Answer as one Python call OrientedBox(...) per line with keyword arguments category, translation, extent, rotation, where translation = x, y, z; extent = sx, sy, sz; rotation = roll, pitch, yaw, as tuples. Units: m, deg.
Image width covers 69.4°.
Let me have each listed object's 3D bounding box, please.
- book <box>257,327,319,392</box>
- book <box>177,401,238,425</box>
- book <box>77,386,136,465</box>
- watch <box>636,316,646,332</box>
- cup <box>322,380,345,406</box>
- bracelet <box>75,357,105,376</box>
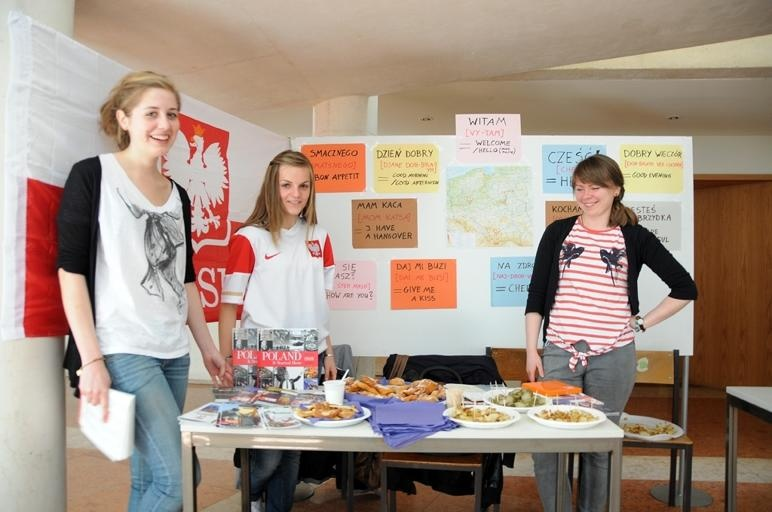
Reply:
OrientedBox(category="book", translation=(-0.471, 0.509, 2.692), extent=(0.356, 0.290, 0.044), rotation=(2, 1, -5))
OrientedBox(category="book", translation=(-0.770, 0.713, 2.496), extent=(0.122, 0.013, 0.176), rotation=(1, 3, 12))
OrientedBox(category="book", translation=(-1.176, 0.716, 2.437), extent=(0.131, 0.290, 0.372), rotation=(-15, -18, 16))
OrientedBox(category="watch", translation=(1.377, 0.376, 3.027), extent=(0.061, 0.071, 0.035), rotation=(1, -21, 13))
OrientedBox(category="cup", translation=(-0.229, 0.632, 2.567), extent=(0.120, 0.101, 0.109), rotation=(-1, 1, 0))
OrientedBox(category="bracelet", translation=(-1.279, 0.486, 2.408), extent=(0.145, 0.095, 0.068), rotation=(0, 0, 22))
